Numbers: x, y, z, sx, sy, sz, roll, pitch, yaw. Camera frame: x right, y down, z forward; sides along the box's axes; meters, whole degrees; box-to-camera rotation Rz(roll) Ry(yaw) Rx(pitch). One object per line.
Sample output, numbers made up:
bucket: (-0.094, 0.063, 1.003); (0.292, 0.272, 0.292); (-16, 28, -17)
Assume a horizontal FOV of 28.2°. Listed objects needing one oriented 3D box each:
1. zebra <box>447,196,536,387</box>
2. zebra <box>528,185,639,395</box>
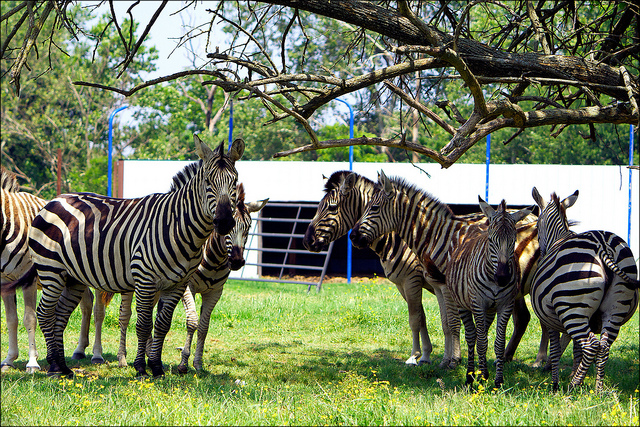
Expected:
zebra: (3.706, 1.721, 28.196); (0.794, 4.127, 1.554); (6, -5, -43)
zebra: (5.735, 1.717, 28.098); (2.204, 4.430, 0.831); (2, -4, 10)
